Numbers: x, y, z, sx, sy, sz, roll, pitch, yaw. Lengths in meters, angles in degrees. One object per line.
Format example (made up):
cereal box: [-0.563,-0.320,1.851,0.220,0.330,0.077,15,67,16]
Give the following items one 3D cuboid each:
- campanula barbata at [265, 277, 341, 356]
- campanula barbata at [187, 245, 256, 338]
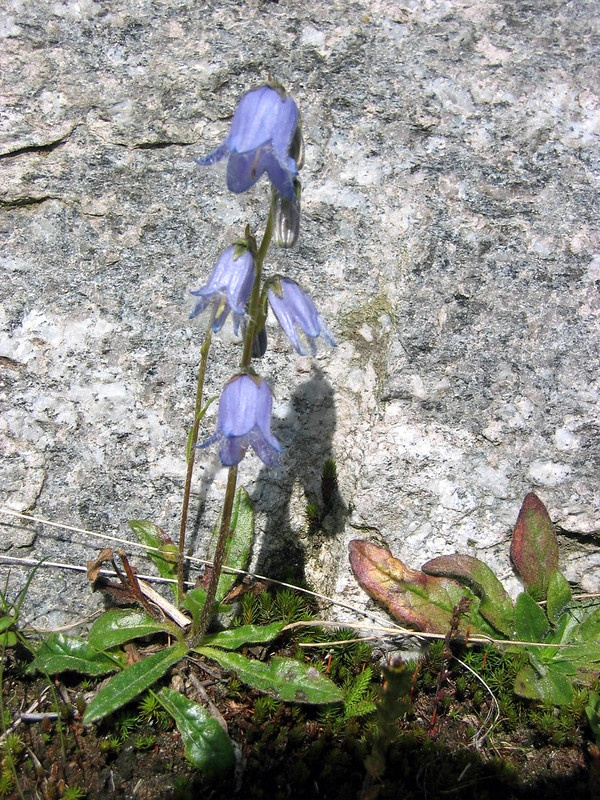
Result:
campanula barbata: [-0.006,-0.334,3.252,0.221,0.355,0.151,-33,2,-1]
campanula barbata: [-0.277,-0.433,3.131,0.223,0.357,0.187,20,-9,9]
